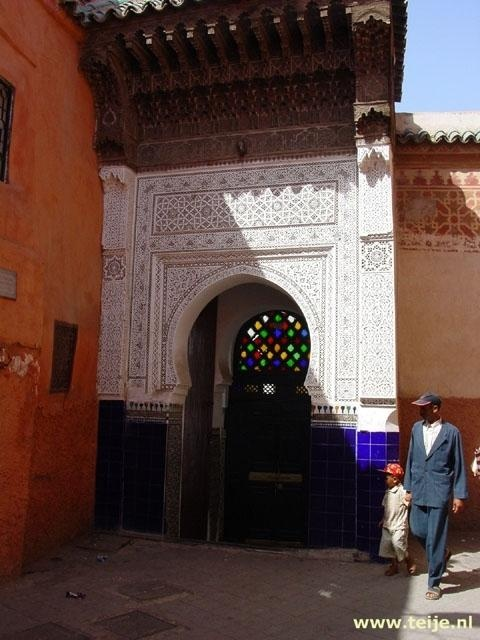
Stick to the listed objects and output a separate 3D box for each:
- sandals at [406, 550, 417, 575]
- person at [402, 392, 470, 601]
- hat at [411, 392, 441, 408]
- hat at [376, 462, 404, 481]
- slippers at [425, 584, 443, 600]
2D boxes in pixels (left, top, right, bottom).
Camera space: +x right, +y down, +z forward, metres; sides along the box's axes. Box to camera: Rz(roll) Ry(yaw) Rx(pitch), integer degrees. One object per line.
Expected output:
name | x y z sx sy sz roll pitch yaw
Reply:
sandals | 1.116 1.602 4.127 0.051 0.073 0.166 -44 -21 2
person | 1.116 0.992 3.622 0.205 1.120 0.405 3 -8 -17
hat | 1.107 0.470 3.731 0.218 0.105 0.139 4 -9 1
hat | 1.020 1.027 4.315 0.176 0.101 0.126 6 -13 22
slippers | 1.072 1.508 3.480 0.064 0.072 0.182 -2 -22 12
